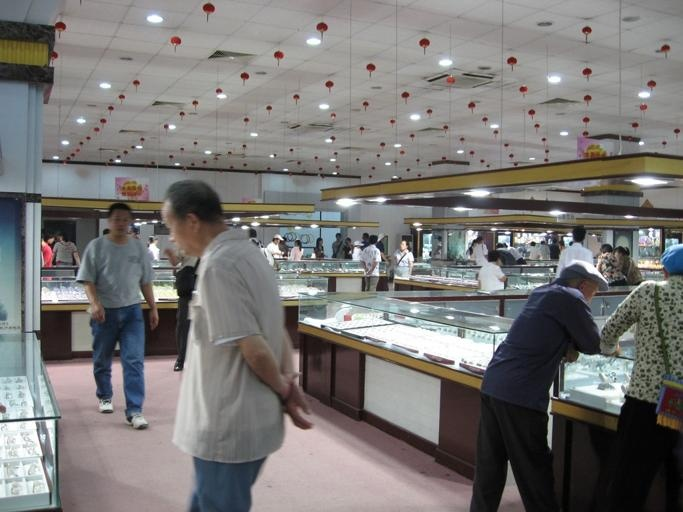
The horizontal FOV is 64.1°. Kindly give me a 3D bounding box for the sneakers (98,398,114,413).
[{"bbox_3d":[-2.413,1.514,5.544,0.089,0.095,0.224,1,3,-18],"label":"sneakers"}]

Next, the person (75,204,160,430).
[{"bbox_3d":[-2.135,0.558,5.183,0.675,2.096,0.708,0,7,-16],"label":"person"}]

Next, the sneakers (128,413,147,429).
[{"bbox_3d":[-1.905,1.541,5.061,0.092,0.104,0.247,6,-9,-35],"label":"sneakers"}]
